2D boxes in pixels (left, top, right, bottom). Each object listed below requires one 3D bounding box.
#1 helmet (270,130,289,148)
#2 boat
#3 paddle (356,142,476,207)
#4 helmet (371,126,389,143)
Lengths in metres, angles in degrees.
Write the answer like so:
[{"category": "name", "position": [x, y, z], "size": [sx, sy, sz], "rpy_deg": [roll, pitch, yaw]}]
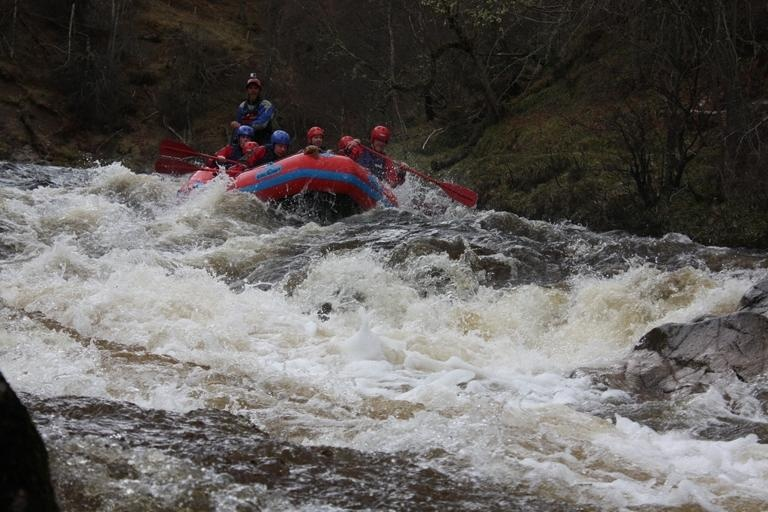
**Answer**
[{"category": "helmet", "position": [-2.123, -2.490, 25.112], "size": [0.374, 0.304, 0.274], "rpy_deg": [-9, 21, -25]}, {"category": "boat", "position": [-1.531, -1.448, 24.008], "size": [3.048, 0.779, 1.732], "rpy_deg": [5, 21, 7]}, {"category": "paddle", "position": [0.825, -1.789, 26.706], "size": [3.045, 0.136, 0.406], "rpy_deg": [31, 31, 11]}, {"category": "helmet", "position": [-0.008, -2.690, 26.189], "size": [0.319, 0.355, 0.404], "rpy_deg": [8, 18, -14]}]
